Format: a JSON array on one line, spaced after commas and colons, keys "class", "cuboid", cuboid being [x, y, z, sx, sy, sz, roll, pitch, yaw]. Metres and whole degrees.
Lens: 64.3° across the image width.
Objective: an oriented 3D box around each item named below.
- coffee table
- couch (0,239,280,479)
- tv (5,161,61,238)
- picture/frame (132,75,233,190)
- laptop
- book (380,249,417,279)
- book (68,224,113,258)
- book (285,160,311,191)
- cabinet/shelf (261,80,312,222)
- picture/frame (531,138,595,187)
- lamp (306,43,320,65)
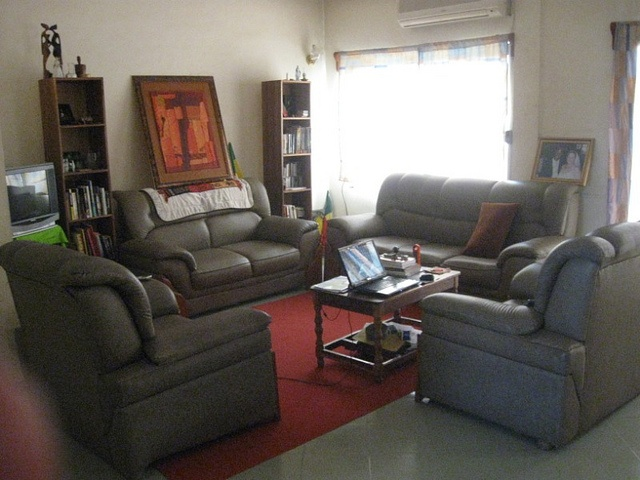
[{"class": "coffee table", "cuboid": [0.398, 0.657, 4.227, 0.699, 0.603, 1.151, 5, 7, 15]}, {"class": "couch", "cuboid": [-1.072, 0.593, 3.282, 1.282, 1.293, 1.591, -11, 13, -41]}, {"class": "tv", "cuboid": [-2.466, -0.344, 4.372, 0.110, 0.565, 0.504, 2, 16, 21]}, {"class": "picture/frame", "cuboid": [-1.550, -1.155, 5.587, 0.057, 1.275, 1.100, -3, 14, 45]}, {"class": "laptop", "cuboid": [0.423, 0.147, 3.846, 0.439, 0.296, 0.488, 3, 10, 32]}, {"class": "book", "cuboid": [0.626, 0.191, 4.173, 0.197, 0.090, 0.251, -6, 14, -39]}, {"class": "book", "cuboid": [-2.089, 0.013, 4.644, 0.087, 0.259, 0.197, -29, -3, 18]}, {"class": "book", "cuboid": [-0.288, -0.832, 6.562, 0.205, 0.361, 0.370, 5, 9, 42]}, {"class": "cabinet/shelf", "cuboid": [-0.299, -1.252, 6.461, 0.311, 1.362, 0.280, -4, 5, -22]}, {"class": "picture/frame", "cuboid": [2.538, -0.797, 5.259, 0.483, 0.420, 0.054, 17, 6, 40]}, {"class": "lamp", "cuboid": [-0.079, -2.521, 6.912, 0.111, 0.262, 0.223, 5, 18, 32]}]
